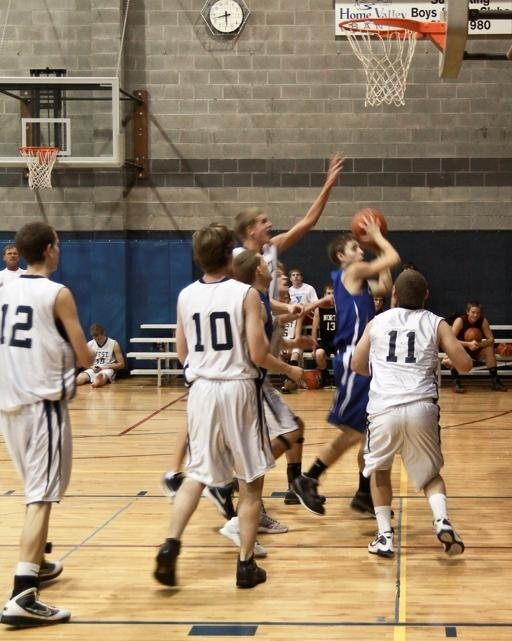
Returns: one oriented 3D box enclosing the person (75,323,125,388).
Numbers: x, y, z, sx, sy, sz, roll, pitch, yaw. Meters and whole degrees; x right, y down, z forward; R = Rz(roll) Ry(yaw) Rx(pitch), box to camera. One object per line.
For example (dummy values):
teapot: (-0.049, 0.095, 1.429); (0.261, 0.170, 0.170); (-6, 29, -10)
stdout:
person: (-1.883, 0.407, 11.316); (0.511, 0.746, 0.789); (2, 9, 14)

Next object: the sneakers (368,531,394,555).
sneakers: (0.644, 1.123, 4.871); (0.071, 0.127, 0.194); (5, -1, -12)

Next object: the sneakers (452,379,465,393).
sneakers: (2.287, 0.734, 10.663); (0.078, 0.157, 0.228); (-2, -10, 0)

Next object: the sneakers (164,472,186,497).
sneakers: (-0.415, 0.839, 4.933); (0.110, 0.116, 0.124); (-1, 5, -16)

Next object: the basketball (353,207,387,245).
basketball: (0.634, -0.536, 5.531); (0.206, 0.223, 0.204); (-3, 13, 7)

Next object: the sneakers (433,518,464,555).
sneakers: (0.899, 0.992, 4.508); (0.087, 0.212, 0.101); (-27, 28, 11)

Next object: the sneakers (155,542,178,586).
sneakers: (-0.395, 1.072, 4.241); (0.113, 0.246, 0.125); (-1, 5, -8)
